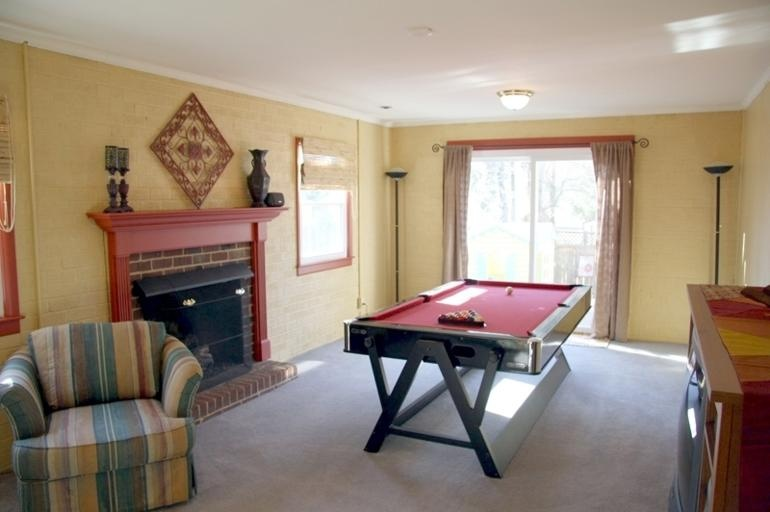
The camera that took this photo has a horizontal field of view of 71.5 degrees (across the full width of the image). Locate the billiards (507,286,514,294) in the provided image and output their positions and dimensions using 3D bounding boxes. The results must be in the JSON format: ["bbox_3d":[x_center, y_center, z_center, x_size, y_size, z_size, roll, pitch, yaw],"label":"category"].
[{"bbox_3d":[1.271,0.355,5.468,0.061,0.070,0.060,-20,27,-12],"label":"billiards"}]

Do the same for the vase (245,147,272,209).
[{"bbox_3d":[-1.400,-0.861,5.855,0.226,0.609,0.330,-4,15,-15],"label":"vase"}]

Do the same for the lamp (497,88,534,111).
[{"bbox_3d":[1.449,-1.756,5.969,0.269,0.119,0.257,0,5,1],"label":"lamp"}]

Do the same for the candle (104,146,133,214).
[{"bbox_3d":[-2.325,-0.674,4.632,0.214,0.555,0.337,-6,15,-21],"label":"candle"}]
